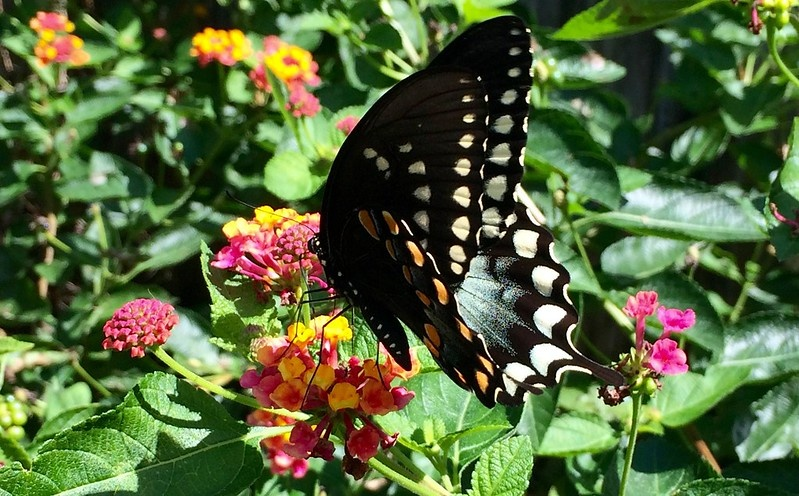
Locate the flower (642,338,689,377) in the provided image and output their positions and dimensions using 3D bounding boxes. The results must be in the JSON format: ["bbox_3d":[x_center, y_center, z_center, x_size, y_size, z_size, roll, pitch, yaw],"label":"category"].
[{"bbox_3d":[0.867,0.358,2.626,0.116,0.124,0.124,-16,22,13],"label":"flower"}]
